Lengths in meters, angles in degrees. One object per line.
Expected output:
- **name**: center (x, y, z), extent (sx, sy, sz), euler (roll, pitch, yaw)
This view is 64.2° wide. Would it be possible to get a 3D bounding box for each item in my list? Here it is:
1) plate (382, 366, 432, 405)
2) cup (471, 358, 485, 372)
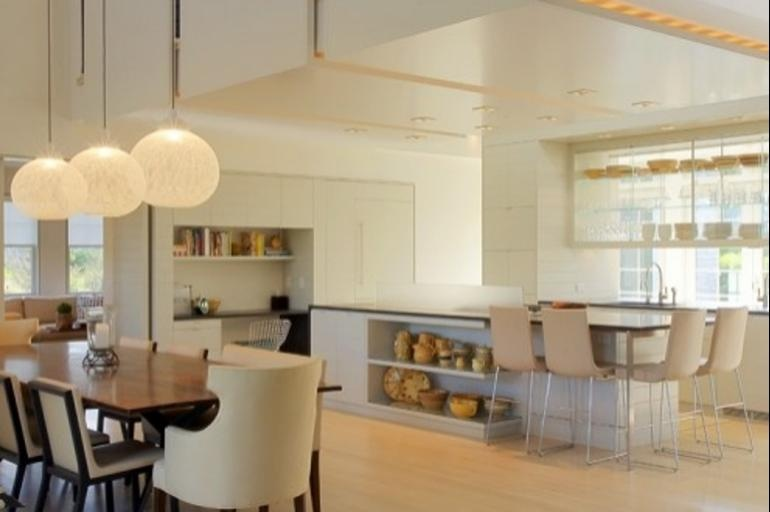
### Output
- **plate**: center (0.226, 1.459, 6.946), extent (0.104, 0.403, 0.421), euler (1, 1, -42)
- **cup**: center (0.945, 1.111, 6.259), extent (0.133, 0.114, 0.132), euler (0, -7, 0)
